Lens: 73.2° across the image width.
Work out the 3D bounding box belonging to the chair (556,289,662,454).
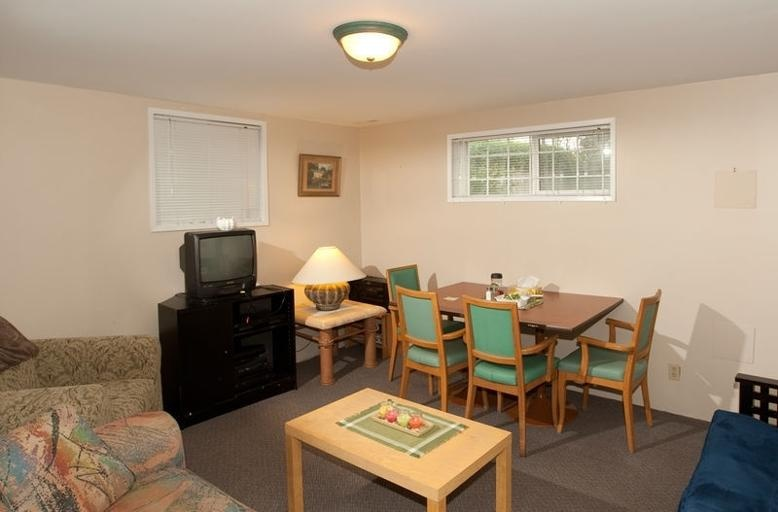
[{"bbox_3d":[2.001,0.988,4.847,0.964,1.268,0.974,-2,6,2],"label":"chair"}]

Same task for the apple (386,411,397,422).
[{"bbox_3d":[0.016,1.176,3.874,0.074,0.073,0.073,8,10,38],"label":"apple"}]

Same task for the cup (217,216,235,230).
[{"bbox_3d":[-1.678,-0.325,5.354,0.153,0.109,0.152,-1,0,0],"label":"cup"}]

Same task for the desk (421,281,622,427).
[{"bbox_3d":[1.361,0.532,5.121,1.730,1.160,1.266,4,10,40],"label":"desk"}]

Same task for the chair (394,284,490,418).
[{"bbox_3d":[0.513,0.898,5.252,0.808,1.154,0.763,-4,7,-33],"label":"chair"}]

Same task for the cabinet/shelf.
[{"bbox_3d":[-1.705,0.913,5.418,0.681,1.170,1.327,11,14,39],"label":"cabinet/shelf"}]

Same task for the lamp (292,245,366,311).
[{"bbox_3d":[-0.731,0.256,6.183,0.903,0.733,0.886,-3,2,-27],"label":"lamp"}]

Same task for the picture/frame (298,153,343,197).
[{"bbox_3d":[-0.882,-1.015,6.464,0.046,0.476,0.596,7,8,43],"label":"picture/frame"}]

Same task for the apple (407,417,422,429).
[{"bbox_3d":[0.182,1.200,3.754,0.081,0.076,0.082,-15,17,-41],"label":"apple"}]
